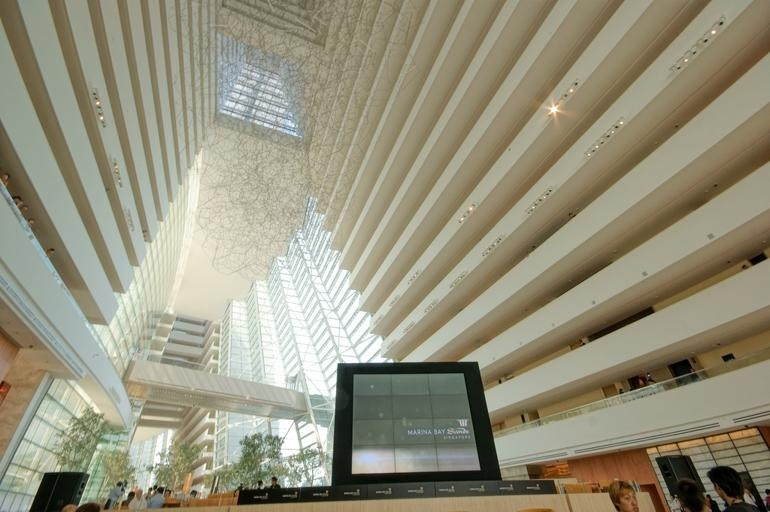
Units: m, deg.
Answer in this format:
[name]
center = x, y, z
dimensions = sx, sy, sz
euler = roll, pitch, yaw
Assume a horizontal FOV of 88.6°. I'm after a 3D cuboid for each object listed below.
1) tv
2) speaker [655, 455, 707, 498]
[tv]
center = 0.633, 3.802, 9.267
dimensions = 3.529, 2.528, 0.275
euler = 1, -35, -5
[speaker]
center = 8.595, 6.217, 11.684
dimensions = 0.662, 0.930, 0.632
euler = 8, -31, -33
